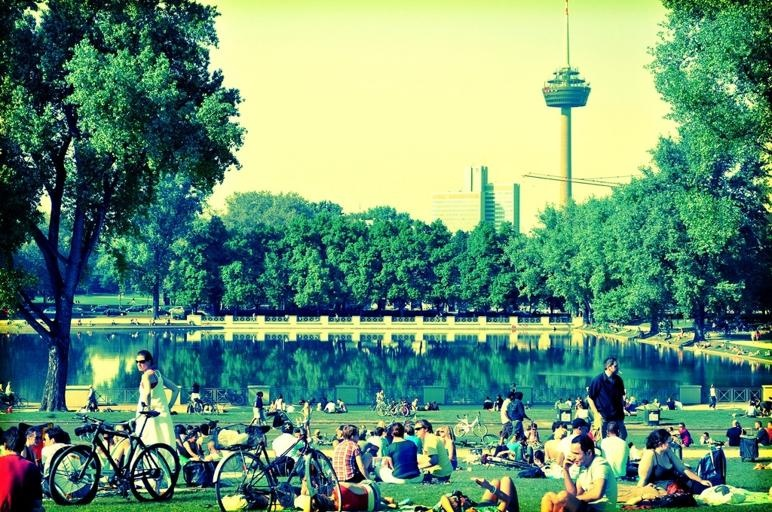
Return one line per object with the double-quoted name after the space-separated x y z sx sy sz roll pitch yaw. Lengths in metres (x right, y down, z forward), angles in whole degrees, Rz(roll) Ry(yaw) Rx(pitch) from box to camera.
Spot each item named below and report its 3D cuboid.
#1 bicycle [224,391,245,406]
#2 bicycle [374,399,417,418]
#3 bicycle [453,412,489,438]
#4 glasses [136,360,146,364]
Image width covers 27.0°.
-8.954 8.390 94.704 1.198 0.774 0.608 -1 -5 -11 "bicycle"
0.475 8.636 90.476 1.996 1.084 0.930 -1 6 -2 "bicycle"
4.398 9.043 84.156 1.781 1.168 0.913 -2 -4 18 "bicycle"
-10.864 4.699 71.044 0.394 0.197 0.205 -4 -9 16 "glasses"
